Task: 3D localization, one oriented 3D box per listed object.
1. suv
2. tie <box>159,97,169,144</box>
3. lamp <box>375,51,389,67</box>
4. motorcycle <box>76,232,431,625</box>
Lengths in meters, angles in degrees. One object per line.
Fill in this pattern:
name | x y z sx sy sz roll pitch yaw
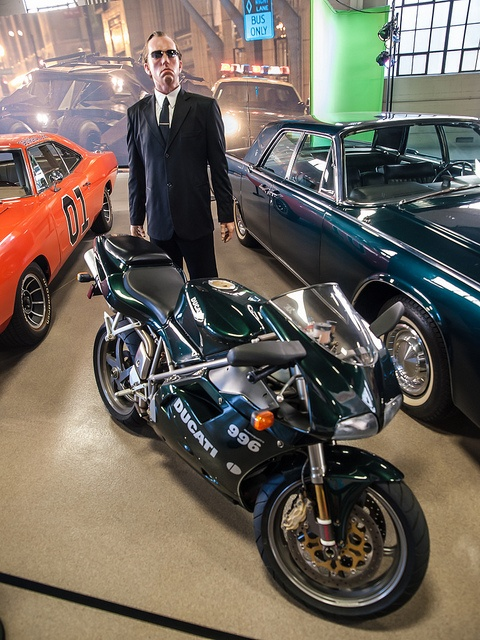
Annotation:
suv | 0.258 -3.626 8.011 1.606 1.247 2.658 -5 33 -11
tie | -0.373 -0.975 2.184 0.061 0.198 0.064 -2 30 3
lamp | 2.384 -4.312 7.383 0.209 0.238 0.480 6 31 16
motorcycle | 0.115 0.085 1.888 0.727 0.991 1.725 -13 34 -43
